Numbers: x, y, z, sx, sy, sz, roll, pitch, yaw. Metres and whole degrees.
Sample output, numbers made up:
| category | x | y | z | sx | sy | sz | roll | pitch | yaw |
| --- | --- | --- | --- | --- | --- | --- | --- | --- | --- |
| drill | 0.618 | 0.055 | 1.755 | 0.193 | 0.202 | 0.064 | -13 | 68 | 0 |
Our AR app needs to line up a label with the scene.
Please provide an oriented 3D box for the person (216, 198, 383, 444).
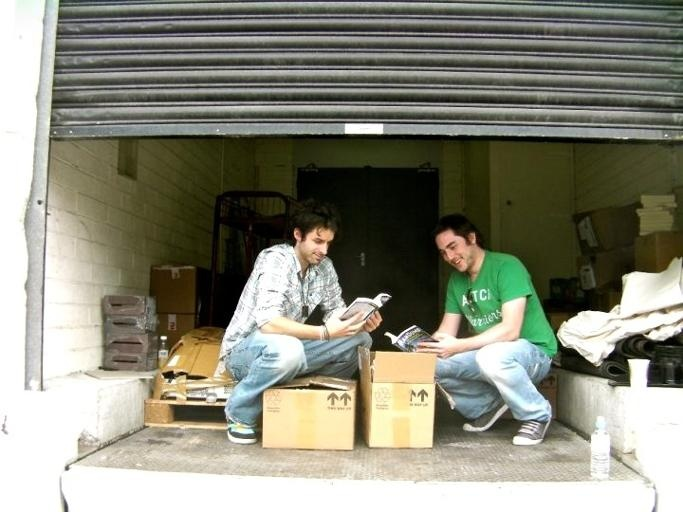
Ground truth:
| category | x | y | z | sx | sy | sz | roll | pitch | yaw |
| --- | --- | --- | --- | --- | --- | --- | --- | --- | --- |
| person | -0.315 | 0.413 | 4.121 | 0.981 | 1.482 | 1.084 | 4 | 4 | 30 |

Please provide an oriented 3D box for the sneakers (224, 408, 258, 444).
| category | x | y | z | sx | sy | sz | roll | pitch | yaw |
| --- | --- | --- | --- | --- | --- | --- | --- | --- | --- |
| sneakers | -0.641 | 1.090 | 3.932 | 0.114 | 0.147 | 0.300 | 6 | -11 | -25 |

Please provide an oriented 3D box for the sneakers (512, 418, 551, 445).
| category | x | y | z | sx | sy | sz | roll | pitch | yaw |
| --- | --- | --- | --- | --- | --- | --- | --- | --- | --- |
| sneakers | 1.194 | 1.094 | 3.882 | 0.103 | 0.126 | 0.300 | -8 | -9 | 43 |

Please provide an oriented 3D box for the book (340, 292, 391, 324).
| category | x | y | z | sx | sy | sz | roll | pitch | yaw |
| --- | --- | --- | --- | --- | --- | --- | --- | --- | --- |
| book | 0.177 | 0.313 | 3.814 | 0.309 | 0.159 | 0.278 | 6 | -10 | -39 |

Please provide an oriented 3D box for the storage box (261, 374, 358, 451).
| category | x | y | z | sx | sy | sz | roll | pitch | yaw |
| --- | --- | --- | --- | --- | --- | --- | --- | --- | --- |
| storage box | -0.214 | 0.973 | 4.013 | 0.619 | 0.404 | 0.661 | 2 | -3 | 2 |

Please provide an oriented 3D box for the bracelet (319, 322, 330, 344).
| category | x | y | z | sx | sy | sz | roll | pitch | yaw |
| --- | --- | --- | --- | --- | --- | --- | --- | --- | --- |
| bracelet | -0.108 | 0.488 | 3.865 | 0.029 | 0.082 | 0.079 | -2 | 28 | 3 |

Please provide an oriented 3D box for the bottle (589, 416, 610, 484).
| category | x | y | z | sx | sy | sz | roll | pitch | yaw |
| --- | --- | --- | --- | --- | --- | --- | --- | --- | --- |
| bottle | 1.396 | 1.025 | 3.361 | 0.102 | 0.325 | 0.197 | -3 | -8 | 22 |

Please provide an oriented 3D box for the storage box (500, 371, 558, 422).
| category | x | y | z | sx | sy | sz | roll | pitch | yaw |
| --- | --- | --- | --- | --- | --- | --- | --- | --- | --- |
| storage box | 1.309 | 0.923 | 4.434 | 0.413 | 0.428 | 0.290 | 0 | -5 | 3 |

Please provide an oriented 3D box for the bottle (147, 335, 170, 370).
| category | x | y | z | sx | sy | sz | roll | pitch | yaw |
| --- | --- | --- | --- | --- | --- | --- | --- | --- | --- |
| bottle | -1.343 | 0.708 | 4.549 | 0.144 | 0.240 | 0.462 | 2 | -8 | -16 |

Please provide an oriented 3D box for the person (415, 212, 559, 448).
| category | x | y | z | sx | sy | sz | roll | pitch | yaw |
| --- | --- | --- | --- | --- | --- | --- | --- | --- | --- |
| person | 1.015 | 0.458 | 4.143 | 0.782 | 1.489 | 0.722 | -3 | -8 | 19 |

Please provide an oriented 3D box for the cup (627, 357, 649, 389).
| category | x | y | z | sx | sy | sz | roll | pitch | yaw |
| --- | --- | --- | --- | --- | --- | --- | --- | --- | --- |
| cup | 1.678 | 0.662 | 3.507 | 0.136 | 0.179 | 0.140 | 3 | -14 | 1 |

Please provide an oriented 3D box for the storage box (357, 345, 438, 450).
| category | x | y | z | sx | sy | sz | roll | pitch | yaw |
| --- | --- | --- | --- | --- | --- | --- | --- | --- | --- |
| storage box | 0.373 | 0.854 | 3.945 | 0.457 | 0.604 | 0.513 | 1 | 5 | 6 |
